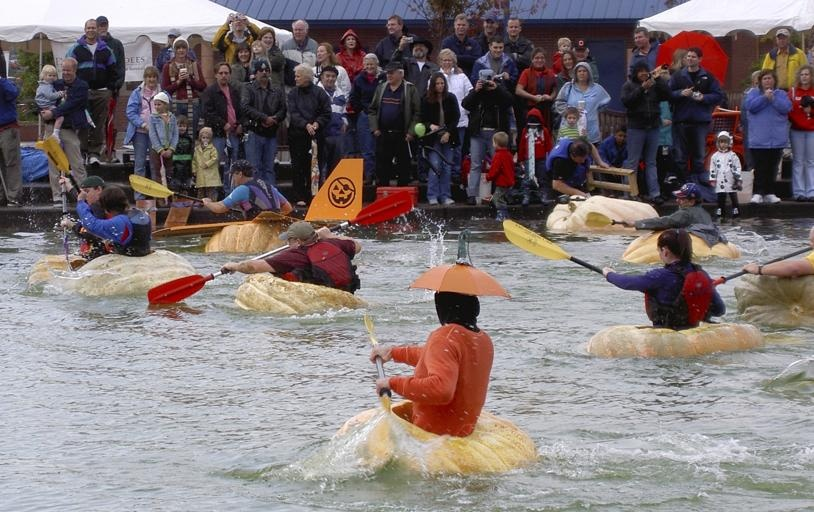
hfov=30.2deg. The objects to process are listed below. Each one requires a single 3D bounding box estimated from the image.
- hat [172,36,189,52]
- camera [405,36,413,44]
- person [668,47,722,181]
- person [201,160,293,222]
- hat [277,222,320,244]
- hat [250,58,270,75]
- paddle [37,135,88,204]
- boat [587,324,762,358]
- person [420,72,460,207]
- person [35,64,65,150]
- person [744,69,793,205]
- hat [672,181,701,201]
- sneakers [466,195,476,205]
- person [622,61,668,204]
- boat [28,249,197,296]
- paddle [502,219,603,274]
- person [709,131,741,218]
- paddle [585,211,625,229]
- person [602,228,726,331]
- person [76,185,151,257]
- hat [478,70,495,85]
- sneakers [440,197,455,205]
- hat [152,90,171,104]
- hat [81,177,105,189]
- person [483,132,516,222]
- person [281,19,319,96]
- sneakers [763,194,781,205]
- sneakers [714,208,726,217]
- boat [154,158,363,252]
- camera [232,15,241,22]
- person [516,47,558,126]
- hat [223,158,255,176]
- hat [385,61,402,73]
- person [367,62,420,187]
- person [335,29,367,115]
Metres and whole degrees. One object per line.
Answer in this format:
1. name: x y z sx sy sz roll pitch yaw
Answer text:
1. hat: -3.997 -3.795 26.783 0.289 0.256 0.340 -2 -19 -13
2. camera: 0.023 -3.916 27.239 0.165 0.135 0.040 -8 5 -44
3. person: 5.112 -2.445 27.062 1.224 2.483 0.911 -4 8 -22
4. person: -2.759 -1.074 25.271 0.741 1.131 0.800 16 38 35
5. hat: -1.450 -0.315 20.063 0.409 0.176 0.270 -5 4 20
6. hat: -2.536 -3.273 26.092 0.279 0.258 0.346 -3 -5 -17
7. paddle: -5.790 -1.466 25.518 0.563 0.668 2.235 -30 -11 -9
8. boat: 3.296 1.050 18.602 2.083 0.415 0.486 1 1 -10
9. person: 0.555 -2.066 26.614 0.698 2.287 0.953 2 2 0
10. person: -6.234 -2.692 26.396 0.445 1.365 1.022 1 2 -13
11. person: 6.434 -2.122 27.112 0.812 2.348 0.885 2 2 10
12. hat: 4.101 -0.952 22.230 0.497 0.218 0.296 2 12 13
13. sneakers: 1.155 -1.013 27.115 0.205 0.209 0.553 2 2 5
14. person: 4.207 -2.217 26.783 0.820 2.481 0.881 2 2 10
15. boat: -4.185 0.233 21.339 2.295 0.642 0.963 2 1 24
16. paddle: 2.206 -0.114 22.735 1.755 0.371 0.116 24 -29 -3
17. person: 5.573 -1.402 26.354 0.563 1.487 0.597 2 2 -4
18. paddle: 3.323 -0.550 25.603 0.564 0.145 0.308 11 -24 -9
19. person: 3.437 0.345 19.946 1.206 1.451 0.890 -8 24 -12
20. person: -4.184 -0.472 21.371 0.690 0.631 1.028 27 -29 23
21. hat: 1.362 -3.107 26.009 0.252 0.241 0.334 2 1 3
22. sneakers: 0.707 -0.981 27.053 0.102 0.088 0.225 0 -1 -35
23. hat: -4.232 -2.758 26.119 0.230 0.224 0.316 2 1 19
24. hat: -4.465 -1.046 21.452 0.312 0.127 0.212 3 3 12
25. person: 1.625 -1.401 26.420 0.476 1.535 1.208 2 2 4
26. person: -1.934 -3.388 27.351 0.894 1.695 0.528 2 16 6
27. sneakers: 6.586 -1.036 27.372 0.158 0.105 0.284 -2 0 -19
28. sneakers: 5.496 -0.767 26.540 0.125 0.141 0.164 9 16 -34
29. boat: -1.976 -0.596 24.018 2.431 0.744 2.175 -2 -2 24
30. camera: -3.064 -4.271 26.945 0.139 0.147 0.275 1 1 -8
31. person: 2.291 -2.990 26.816 0.745 1.373 0.584 2 2 4
32. hat: -2.642 -1.412 24.039 0.376 0.261 0.263 -13 20 -19
33. hat: -0.217 -3.322 26.502 0.298 0.201 0.317 1 1 -8
34. person: -0.240 -2.329 26.765 0.852 2.173 0.779 2 2 -4
35. person: -1.194 -3.493 27.734 0.546 0.873 1.202 15 33 11
